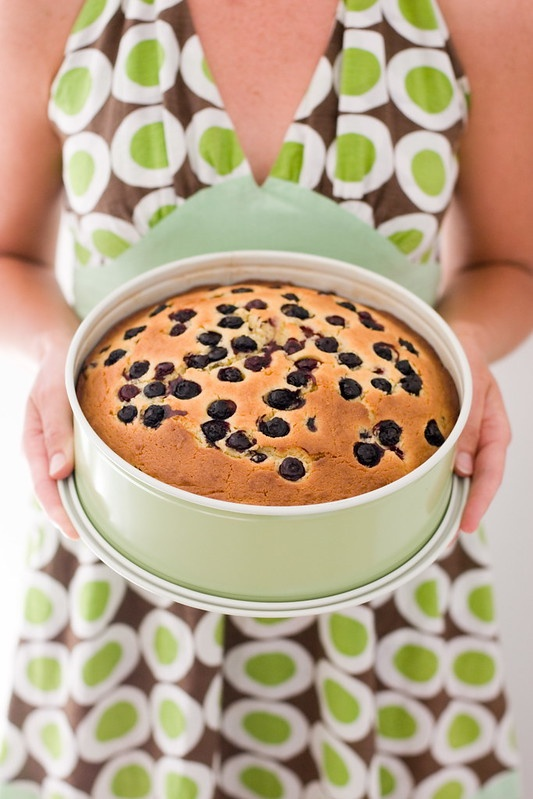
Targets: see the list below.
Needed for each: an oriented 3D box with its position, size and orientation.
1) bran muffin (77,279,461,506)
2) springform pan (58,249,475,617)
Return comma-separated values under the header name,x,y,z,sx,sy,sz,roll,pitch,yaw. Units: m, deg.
name,x,y,z,sx,sy,sz,roll,pitch,yaw
bran muffin,0.006,-0.008,1.075,0.459,0.072,0.419,10,36,4
springform pan,0.003,0.027,1.054,0.557,0.244,0.520,8,41,7
